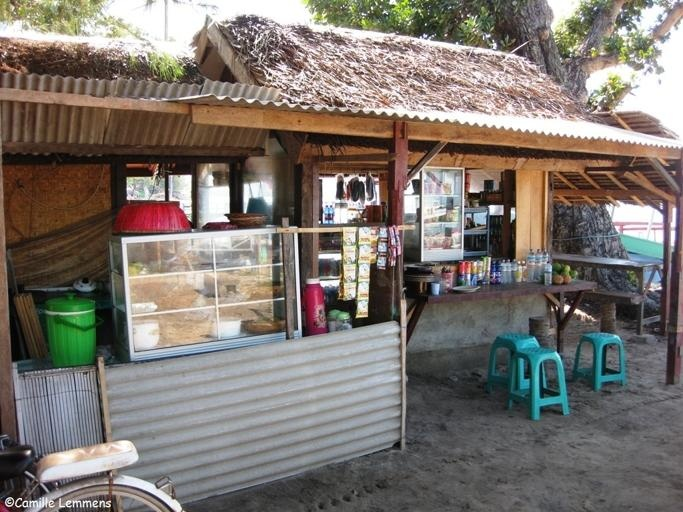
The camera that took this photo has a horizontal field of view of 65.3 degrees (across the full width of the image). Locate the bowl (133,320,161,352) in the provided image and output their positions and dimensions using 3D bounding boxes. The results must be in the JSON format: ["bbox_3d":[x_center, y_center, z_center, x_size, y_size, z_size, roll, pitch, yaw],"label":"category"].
[{"bbox_3d":[-1.824,0.740,4.956,0.268,0.193,0.261,0,-4,0],"label":"bowl"}]

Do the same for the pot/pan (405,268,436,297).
[{"bbox_3d":[1.097,0.362,7.424,0.449,0.244,0.405,1,-1,-7],"label":"pot/pan"}]

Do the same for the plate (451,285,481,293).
[{"bbox_3d":[1.811,0.461,7.716,0.308,0.063,0.559,5,9,30],"label":"plate"}]

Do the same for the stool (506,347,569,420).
[{"bbox_3d":[2.585,1.603,7.001,0.733,0.844,0.694,-3,9,-23],"label":"stool"}]

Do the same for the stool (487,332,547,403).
[{"bbox_3d":[2.406,1.617,7.544,0.754,0.731,0.737,6,-10,20],"label":"stool"}]

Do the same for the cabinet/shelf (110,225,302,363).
[{"bbox_3d":[-1.365,0.363,5.161,1.494,0.860,0.492,-7,11,-26],"label":"cabinet/shelf"}]

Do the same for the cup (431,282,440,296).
[{"bbox_3d":[1.291,0.441,7.369,0.131,0.161,0.128,0,8,0],"label":"cup"}]

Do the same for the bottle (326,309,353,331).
[{"bbox_3d":[-0.007,0.702,5.964,0.286,0.230,0.235,1,-3,-26],"label":"bottle"}]

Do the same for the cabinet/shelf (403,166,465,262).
[{"bbox_3d":[1.519,-0.684,8.652,0.983,1.546,0.539,0,9,-1],"label":"cabinet/shelf"}]

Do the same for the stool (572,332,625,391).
[{"bbox_3d":[3.948,1.644,8.184,0.838,0.772,0.745,-5,7,-19],"label":"stool"}]
